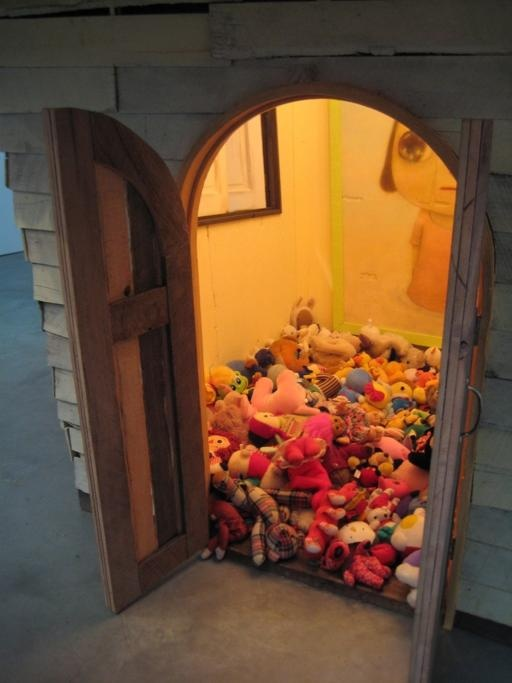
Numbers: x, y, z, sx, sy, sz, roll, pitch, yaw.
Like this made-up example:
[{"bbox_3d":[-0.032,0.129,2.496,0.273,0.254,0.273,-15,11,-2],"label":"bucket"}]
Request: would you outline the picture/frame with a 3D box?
[{"bbox_3d":[-0.093,-1.267,3.849,0.070,0.738,0.756,10,16,-25],"label":"picture/frame"}]
